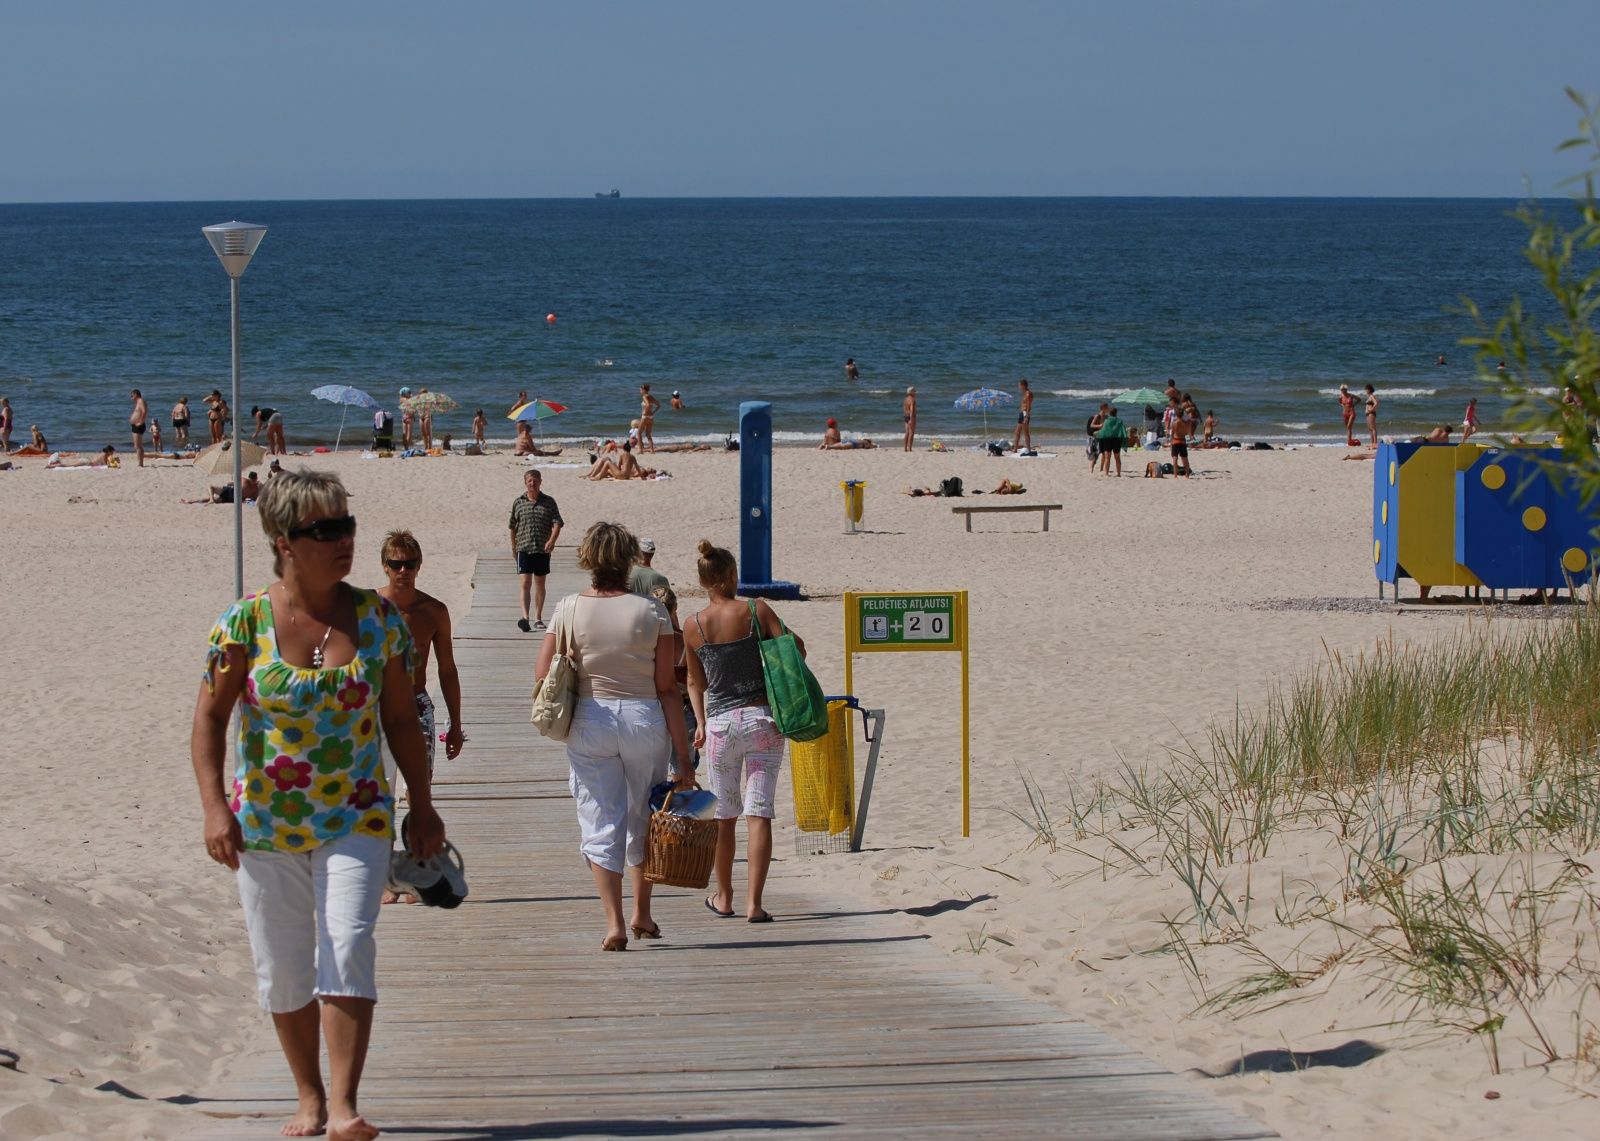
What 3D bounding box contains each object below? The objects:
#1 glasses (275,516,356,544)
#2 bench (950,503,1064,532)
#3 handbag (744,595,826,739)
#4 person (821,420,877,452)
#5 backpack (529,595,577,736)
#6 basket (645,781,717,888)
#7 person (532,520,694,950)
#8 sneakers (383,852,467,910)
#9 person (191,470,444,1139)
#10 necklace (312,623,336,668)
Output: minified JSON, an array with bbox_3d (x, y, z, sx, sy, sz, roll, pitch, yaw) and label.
[{"bbox_3d":[-2.530,-0.224,16.170,0.358,0.130,0.124,-1,3,-29],"label":"glasses"},{"bbox_3d":[2.510,-0.662,37.249,1.204,0.318,2.986,0,3,5],"label":"bench"},{"bbox_3d":[-0.080,0.614,18.732,0.461,0.843,0.279,0,3,3],"label":"handbag"},{"bbox_3d":[0.760,-2.192,51.321,0.814,0.381,0.626,1,2,-6],"label":"person"},{"bbox_3d":[-1.452,0.635,18.052,0.274,0.690,0.188,1,3,15],"label":"backpack"},{"bbox_3d":[-0.716,1.565,18.336,0.564,0.710,0.522,2,-6,4],"label":"basket"},{"bbox_3d":[-1.092,0.974,18.167,0.876,2.524,0.308,0,2,-3],"label":"person"},{"bbox_3d":[-2.024,1.638,16.633,0.437,0.269,0.191,11,12,-6],"label":"sneakers"},{"bbox_3d":[-2.566,1.237,16.215,1.237,3.508,0.491,0,3,-12],"label":"person"},{"bbox_3d":[-2.518,0.411,16.147,0.060,0.279,0.073,17,-5,-7],"label":"necklace"}]
